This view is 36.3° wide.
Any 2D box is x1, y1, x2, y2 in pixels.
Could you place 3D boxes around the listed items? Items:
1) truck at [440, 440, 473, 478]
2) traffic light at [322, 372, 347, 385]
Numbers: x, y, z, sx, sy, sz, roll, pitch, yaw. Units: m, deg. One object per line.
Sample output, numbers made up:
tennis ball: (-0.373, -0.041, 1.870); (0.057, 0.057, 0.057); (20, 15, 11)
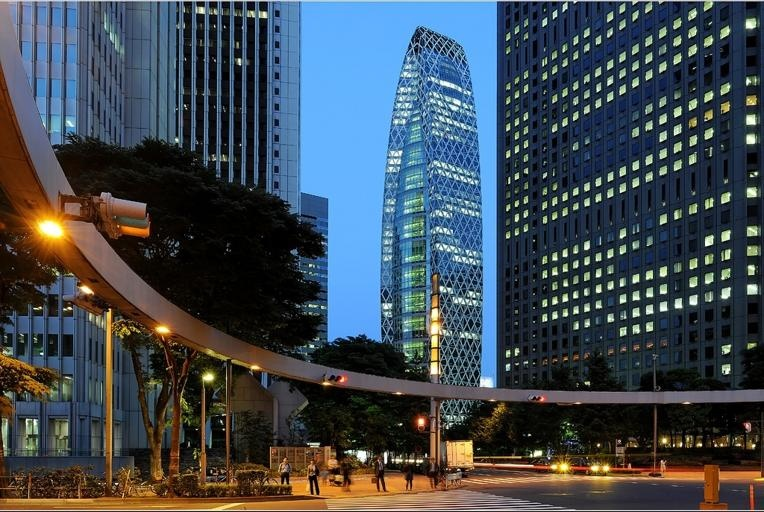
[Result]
truck: (7.750, 21.025, 125.209); (2.984, 3.674, 5.920); (-1, 4, 0)
traffic light: (-4.646, 11.846, 112.786); (2.588, 1.070, 0.636); (14, -23, -34)
